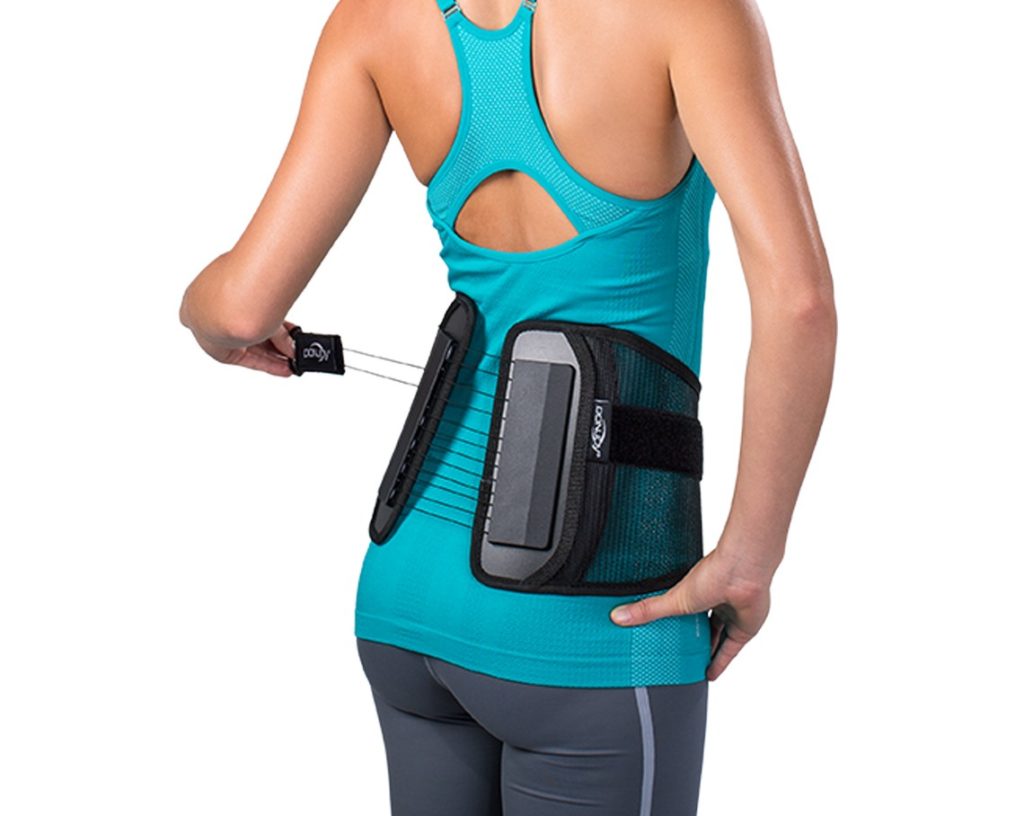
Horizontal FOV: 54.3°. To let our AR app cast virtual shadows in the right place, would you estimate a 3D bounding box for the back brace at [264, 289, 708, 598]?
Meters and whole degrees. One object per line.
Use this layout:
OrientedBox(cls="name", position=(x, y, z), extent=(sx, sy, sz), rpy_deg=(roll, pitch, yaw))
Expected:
OrientedBox(cls="back brace", position=(-0.006, 0.043, 1.926), extent=(0.892, 0.422, 0.314), rpy_deg=(9, 9, 36))
